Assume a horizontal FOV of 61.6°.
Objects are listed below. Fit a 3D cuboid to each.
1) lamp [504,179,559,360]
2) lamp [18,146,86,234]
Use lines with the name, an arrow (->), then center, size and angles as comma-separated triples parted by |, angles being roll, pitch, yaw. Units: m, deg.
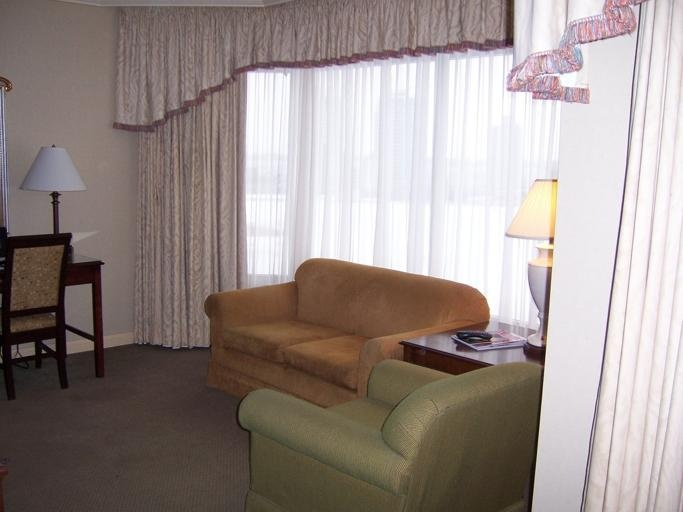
lamp -> 0.990, 0.040, 3.039 | 0.230, 0.880, 0.449 | 4, 10, 18
lamp -> -2.301, -0.425, 4.605 | 0.415, 1.128, 0.401 | -3, 34, -29
